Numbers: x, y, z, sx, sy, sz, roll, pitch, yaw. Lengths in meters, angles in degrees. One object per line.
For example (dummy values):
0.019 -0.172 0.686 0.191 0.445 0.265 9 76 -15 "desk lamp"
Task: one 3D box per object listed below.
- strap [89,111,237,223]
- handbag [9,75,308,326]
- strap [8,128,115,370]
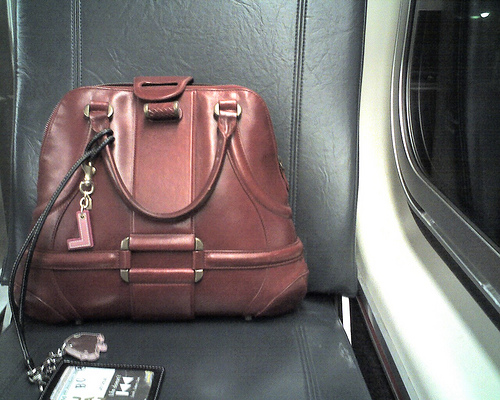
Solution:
-0.129 -0.041 0.752 0.193 0.223 0.057 -2 -2 2 "strap"
-0.162 0.014 0.988 0.653 0.634 0.362 0 1 -2 "handbag"
-0.331 0.025 0.823 0.128 0.501 0.050 27 -24 -38 "strap"
